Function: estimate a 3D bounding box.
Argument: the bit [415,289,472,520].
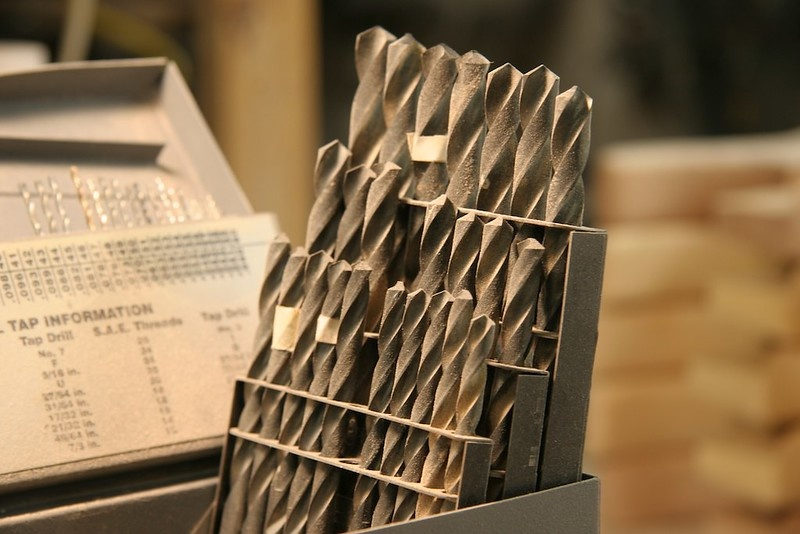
[{"bbox_3d":[0.078,0.183,1.707,0.054,0.384,0.056,12,-5,10],"label":"bit"}]

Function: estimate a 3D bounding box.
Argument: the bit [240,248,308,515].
[{"bbox_3d":[-0.201,0.166,1.796,0.091,0.460,0.111,5,-12,3],"label":"bit"}]

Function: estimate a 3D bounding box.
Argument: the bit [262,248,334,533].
[{"bbox_3d":[-0.148,0.174,1.825,0.083,0.488,0.084,10,1,13],"label":"bit"}]

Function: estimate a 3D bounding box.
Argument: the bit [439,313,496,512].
[{"bbox_3d":[0.103,0.204,1.673,0.040,0.254,0.089,9,-15,-24],"label":"bit"}]

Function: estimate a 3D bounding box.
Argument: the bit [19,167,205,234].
[{"bbox_3d":[-0.523,-0.116,2.086,0.241,0.152,0.087,-1,-39,-7],"label":"bit"}]
